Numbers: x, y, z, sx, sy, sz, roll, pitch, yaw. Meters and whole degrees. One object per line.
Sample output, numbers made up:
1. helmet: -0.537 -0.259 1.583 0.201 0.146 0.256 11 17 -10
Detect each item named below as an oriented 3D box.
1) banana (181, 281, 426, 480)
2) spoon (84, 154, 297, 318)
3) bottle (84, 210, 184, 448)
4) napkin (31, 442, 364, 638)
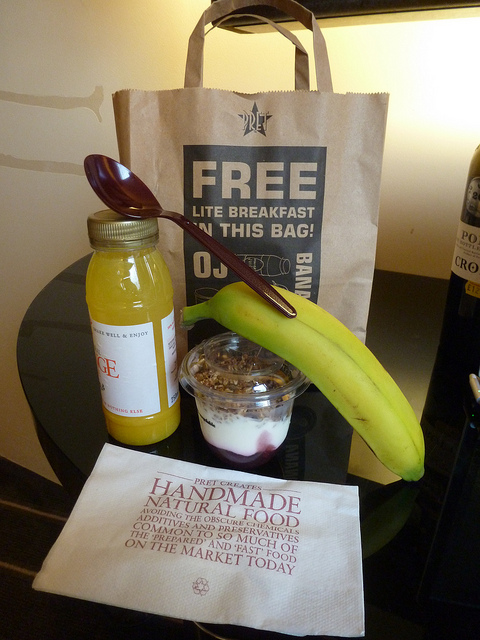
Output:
1. banana: 0.068 0.039 0.523 0.300 0.089 0.069 37 32 21
2. spoon: -0.060 -0.105 0.560 0.177 0.194 0.135 5 33 8
3. bottle: -0.117 -0.003 0.581 0.096 0.266 0.175 -2 25 -7
4. napkin: -0.027 0.178 0.426 0.253 0.016 0.162 6 27 8
